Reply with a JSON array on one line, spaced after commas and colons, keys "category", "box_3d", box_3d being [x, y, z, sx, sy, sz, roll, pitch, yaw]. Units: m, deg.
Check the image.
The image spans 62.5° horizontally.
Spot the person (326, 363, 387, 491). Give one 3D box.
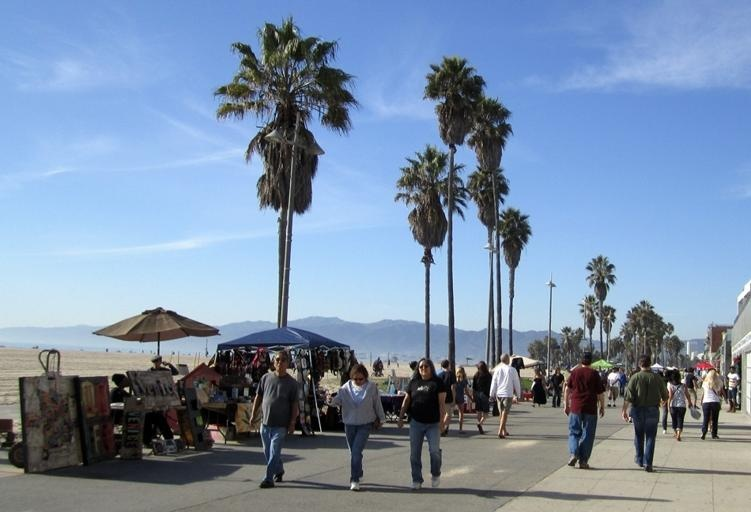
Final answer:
[{"category": "person", "box_3d": [-0.318, 3.176, 11.555, 0.929, 2.232, 0.564, 1, -7, 0]}]

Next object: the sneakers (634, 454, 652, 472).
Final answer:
[{"category": "sneakers", "box_3d": [5.694, 4.427, 13.094, 0.133, 0.191, 0.425, 2, -3, 8]}]

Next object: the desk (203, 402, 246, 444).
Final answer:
[{"category": "desk", "box_3d": [-4.073, 4.509, 16.761, 1.017, 0.893, 1.106, -1, -4, 15]}]

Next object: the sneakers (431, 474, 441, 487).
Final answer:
[{"category": "sneakers", "box_3d": [1.115, 4.204, 11.517, 0.152, 0.205, 0.234, 1, -7, 3]}]

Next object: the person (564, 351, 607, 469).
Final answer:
[{"category": "person", "box_3d": [4.498, 3.309, 13.333, 0.790, 2.433, 1.275, -1, -7, 20]}]

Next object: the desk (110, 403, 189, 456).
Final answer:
[{"category": "desk", "box_3d": [-5.104, 3.933, 14.432, 0.708, 1.340, 1.452, 7, -14, 8]}]

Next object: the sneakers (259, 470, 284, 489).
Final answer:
[{"category": "sneakers", "box_3d": [-1.917, 4.151, 11.496, 0.183, 0.256, 0.571, -4, -10, 18]}]

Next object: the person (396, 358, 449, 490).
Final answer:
[{"category": "person", "box_3d": [0.895, 3.146, 11.625, 0.766, 2.321, 0.454, 0, -7, 7]}]

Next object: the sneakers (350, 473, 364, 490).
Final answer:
[{"category": "sneakers", "box_3d": [-0.353, 4.116, 11.309, 0.195, 0.304, 0.285, 2, -7, -2]}]

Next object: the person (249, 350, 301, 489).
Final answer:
[{"category": "person", "box_3d": [-1.888, 3.032, 11.577, 0.818, 2.456, 0.467, 1, -7, -1]}]

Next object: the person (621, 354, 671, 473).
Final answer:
[{"category": "person", "box_3d": [5.830, 3.361, 13.350, 0.809, 2.368, 0.986, -1, -7, 22]}]

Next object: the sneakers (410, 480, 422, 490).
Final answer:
[{"category": "sneakers", "box_3d": [0.758, 4.228, 11.419, 0.187, 0.144, 0.284, 0, -8, 9]}]
